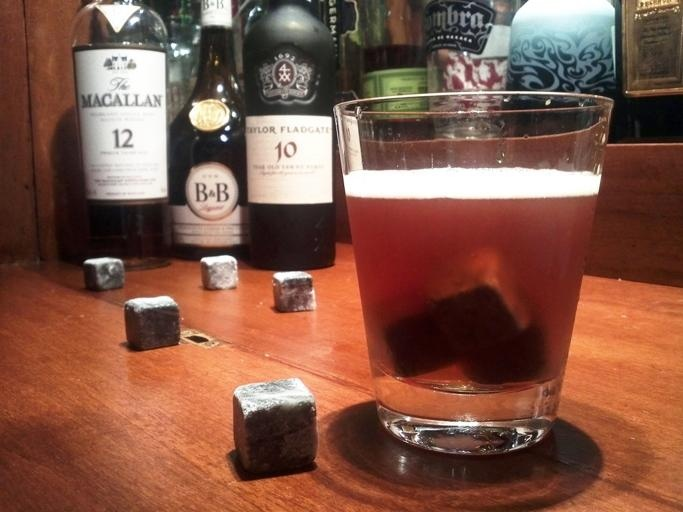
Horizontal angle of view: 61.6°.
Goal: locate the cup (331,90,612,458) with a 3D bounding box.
[{"bbox_3d":[0.096,0.011,0.459,0.224,0.270,0.207,-1,1,0],"label":"cup"}]
